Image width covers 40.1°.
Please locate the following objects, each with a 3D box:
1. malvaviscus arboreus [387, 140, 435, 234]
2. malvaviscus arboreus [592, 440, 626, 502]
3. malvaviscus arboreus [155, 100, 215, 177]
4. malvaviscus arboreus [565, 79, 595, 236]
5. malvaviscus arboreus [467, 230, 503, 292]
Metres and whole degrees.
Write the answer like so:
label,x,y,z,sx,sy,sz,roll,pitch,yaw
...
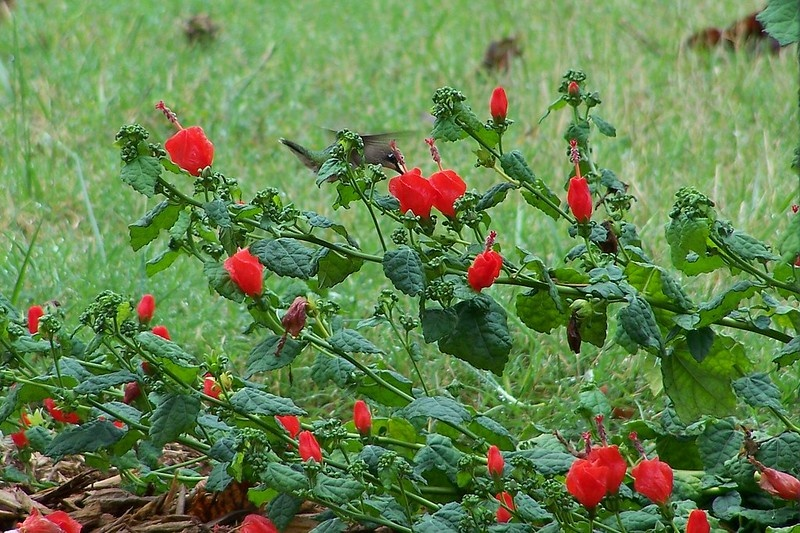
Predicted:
label,x,y,z,sx,sy,sz,roll,pitch,yaw
malvaviscus arboreus,0.045,-0.176,2.839,0.098,0.122,0.137,-25,46,-21
malvaviscus arboreus,0.507,0.492,2.630,0.103,0.127,0.101,-7,-2,38
malvaviscus arboreus,-0.542,-0.300,2.831,0.113,0.106,0.077,-11,42,-7
malvaviscus arboreus,0.477,-0.286,2.886,0.078,0.413,0.065,3,1,12
malvaviscus arboreus,0.219,-0.014,2.784,0.070,0.157,0.082,13,7,26
